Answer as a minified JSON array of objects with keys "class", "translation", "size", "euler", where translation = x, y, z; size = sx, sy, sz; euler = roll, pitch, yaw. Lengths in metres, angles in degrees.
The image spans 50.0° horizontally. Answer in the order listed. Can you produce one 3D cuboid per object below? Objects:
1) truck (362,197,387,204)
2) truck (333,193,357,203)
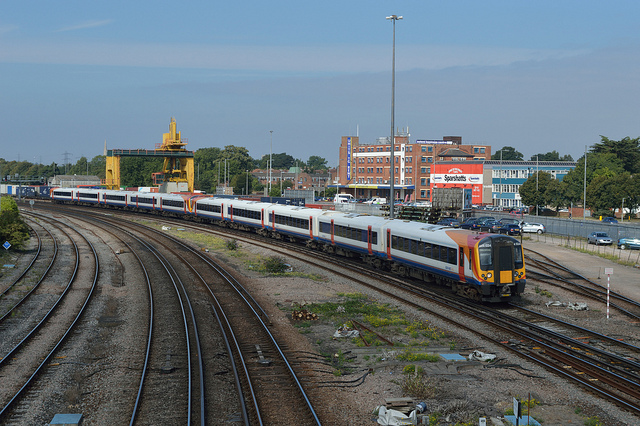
[{"class":"truck","translation":[10.132,-2.298,127.208],"size":[3.562,1.807,2.126],"euler":[1,2,-6]},{"class":"truck","translation":[5.313,-3.190,141.255],"size":[4.050,1.999,3.022],"euler":[-1,4,13]}]
